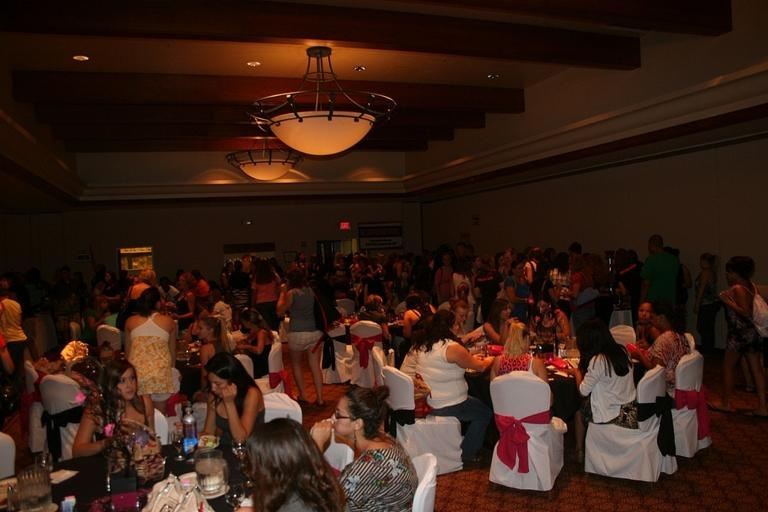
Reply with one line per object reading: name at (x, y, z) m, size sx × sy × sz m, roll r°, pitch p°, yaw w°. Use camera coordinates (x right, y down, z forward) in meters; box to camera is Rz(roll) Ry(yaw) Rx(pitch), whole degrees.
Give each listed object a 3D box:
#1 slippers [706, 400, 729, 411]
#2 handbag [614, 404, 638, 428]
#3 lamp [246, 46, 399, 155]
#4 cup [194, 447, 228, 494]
slippers at (4.490, 2.006, 7.164) m, size 0.216 × 0.085 × 0.122 m, roll 2°, pitch -1°, yaw 37°
handbag at (2.522, 1.689, 5.578) m, size 0.192 × 0.181 × 0.235 m, roll 34°, pitch -34°, yaw -5°
lamp at (-0.740, -1.806, 6.244) m, size 1.556 × 1.140 × 1.604 m, roll 9°, pitch 12°, yaw 38°
cup at (-1.346, 1.662, 4.136) m, size 0.196 × 0.319 × 0.317 m, roll -3°, pitch -2°, yaw -20°
